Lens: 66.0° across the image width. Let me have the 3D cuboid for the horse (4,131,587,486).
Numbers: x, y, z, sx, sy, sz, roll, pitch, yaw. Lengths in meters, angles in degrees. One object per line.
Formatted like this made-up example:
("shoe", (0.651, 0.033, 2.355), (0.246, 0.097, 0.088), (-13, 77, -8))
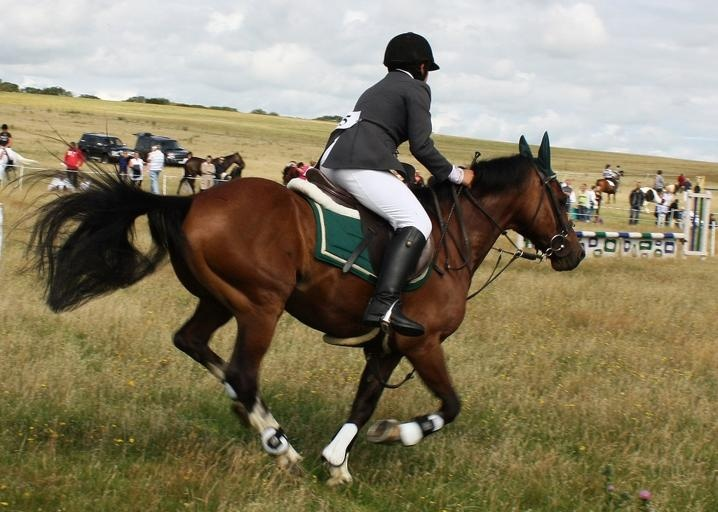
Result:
("horse", (-0.364, 0.432, 5.079), (5.122, 2.422, 1.113), (1, -3, -16))

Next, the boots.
("boots", (0.328, 0.205, 4.734), (0.499, 0.897, 0.444), (5, 10, 2))

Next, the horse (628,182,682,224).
("horse", (17.110, -3.292, 31.538), (0.706, 1.583, 2.652), (-11, 14, -31))
